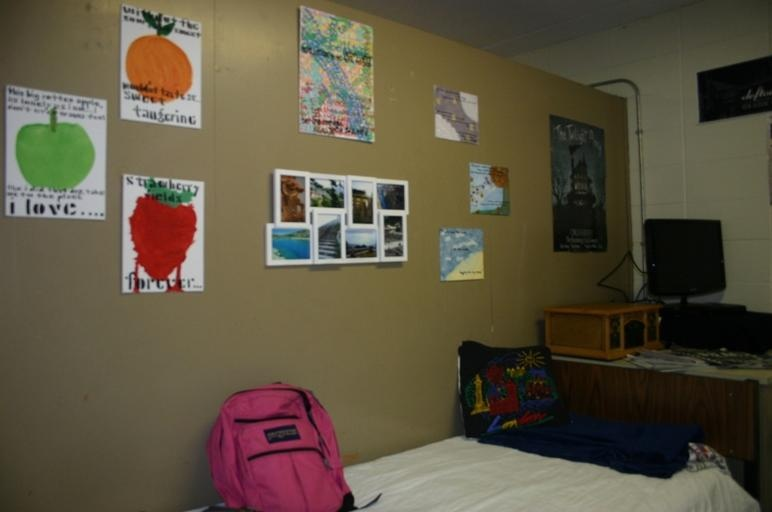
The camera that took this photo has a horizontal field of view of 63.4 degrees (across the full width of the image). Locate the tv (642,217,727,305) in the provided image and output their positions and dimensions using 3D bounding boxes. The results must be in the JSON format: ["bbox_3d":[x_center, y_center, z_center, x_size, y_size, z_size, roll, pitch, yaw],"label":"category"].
[{"bbox_3d":[2.249,0.068,4.697,0.694,0.686,0.216,-1,-2,-20],"label":"tv"}]

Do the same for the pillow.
[{"bbox_3d":[0.767,0.867,4.203,0.797,0.226,0.832,4,-38,-23],"label":"pillow"}]
